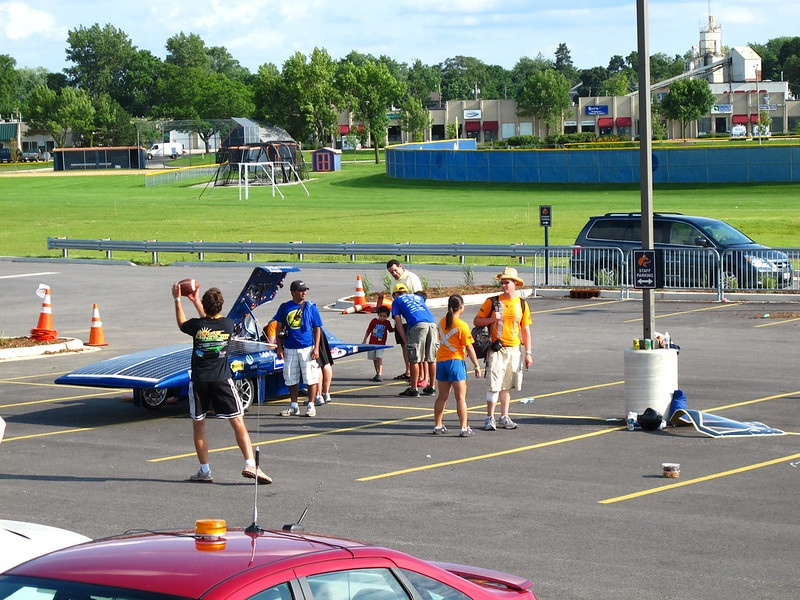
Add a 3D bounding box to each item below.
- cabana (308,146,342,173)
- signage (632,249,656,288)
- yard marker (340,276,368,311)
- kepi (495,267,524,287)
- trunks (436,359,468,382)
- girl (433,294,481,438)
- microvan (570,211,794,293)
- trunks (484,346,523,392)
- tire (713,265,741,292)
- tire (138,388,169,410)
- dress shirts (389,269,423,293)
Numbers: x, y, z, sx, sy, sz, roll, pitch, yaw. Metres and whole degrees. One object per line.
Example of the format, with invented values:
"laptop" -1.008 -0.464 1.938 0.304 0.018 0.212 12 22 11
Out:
"cabana" -6.285 -11.942 111.740 2.122 1.644 2.473 0 1 7
"signage" 3.488 -0.427 18.460 0.284 0.560 0.375 -1 6 6
"yard marker" -0.825 -0.072 30.104 0.755 0.806 0.801 0 -3 34
"kepi" 2.087 -0.428 24.521 0.543 0.205 0.445 22 -14 -40
"trunks" 0.709 0.996 17.981 0.447 0.299 0.313 -5 -14 41
"girl" 0.751 0.910 18.227 0.714 1.862 0.605 7 10 22
"microvan" 6.788 -1.191 31.575 5.256 1.782 1.284 2 7 31
"trunks" 1.457 0.984 18.327 0.686 0.647 0.276 -7 8 -41
"tire" 7.759 -0.502 30.722 0.662 0.602 0.223 -2 -5 7
"tire" -3.743 1.491 19.696 0.452 0.411 0.166 5 -1 -22
"dress shirts" 0.088 -0.312 22.935 0.549 0.481 0.282 4 43 34
